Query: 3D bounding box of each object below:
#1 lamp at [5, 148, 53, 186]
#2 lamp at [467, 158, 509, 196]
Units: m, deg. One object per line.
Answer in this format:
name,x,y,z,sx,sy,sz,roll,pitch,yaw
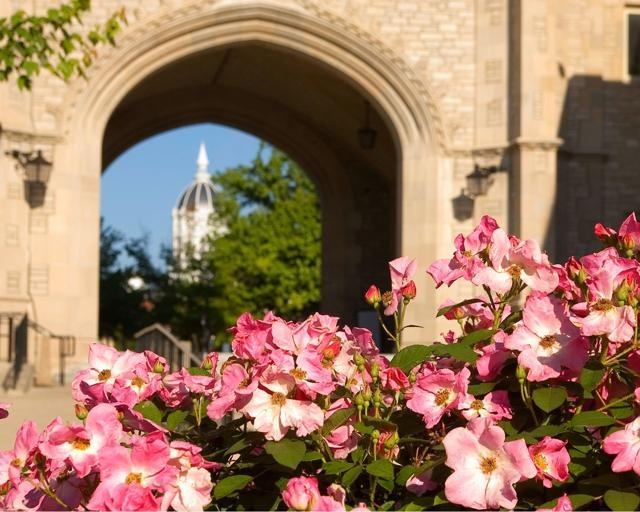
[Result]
lamp,-3.652,-1.103,23.648,0.454,0.411,0.136,-2,-4,-2
lamp,2.109,-0.987,24.255,0.473,0.428,0.388,5,10,24
